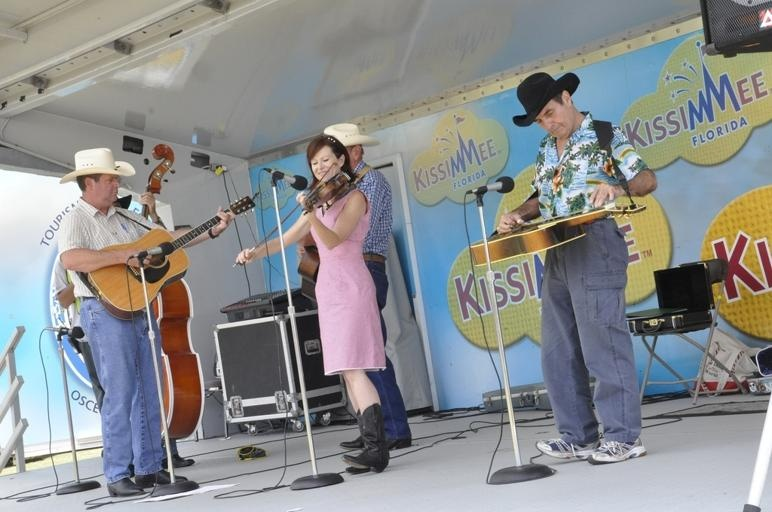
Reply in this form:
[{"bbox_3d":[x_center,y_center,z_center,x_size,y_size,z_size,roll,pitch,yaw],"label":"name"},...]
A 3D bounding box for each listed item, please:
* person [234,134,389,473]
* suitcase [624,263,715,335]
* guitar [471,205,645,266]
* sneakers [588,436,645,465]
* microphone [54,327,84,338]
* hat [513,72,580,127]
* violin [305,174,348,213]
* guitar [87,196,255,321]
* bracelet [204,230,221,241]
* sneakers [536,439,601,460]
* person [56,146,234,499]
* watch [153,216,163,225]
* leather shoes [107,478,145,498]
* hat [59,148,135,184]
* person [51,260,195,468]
[{"bbox_3d":[-0.366,0.342,4.906,0.699,2.404,0.685,-5,-8,-10],"label":"person"},{"bbox_3d":[2.420,0.415,6.372,0.700,0.756,0.725,-2,-3,-26],"label":"suitcase"},{"bbox_3d":[1.042,-0.141,4.362,0.876,0.160,0.462,-13,3,28],"label":"guitar"},{"bbox_3d":[1.460,1.245,4.521,0.398,0.180,0.145,-1,-7,-14],"label":"sneakers"},{"bbox_3d":[-2.761,0.660,6.134,0.110,0.124,0.400,-15,8,-41],"label":"microphone"},{"bbox_3d":[1.060,-1.086,4.572,0.406,0.167,0.317,-36,-7,-37],"label":"hat"},{"bbox_3d":[-0.389,-0.443,4.790,0.333,0.107,0.181,-27,-14,-23],"label":"violin"},{"bbox_3d":[-1.672,-0.109,5.708,1.592,0.672,0.226,-38,0,-29],"label":"guitar"},{"bbox_3d":[-1.405,-0.189,5.792,0.101,0.035,0.098,9,-27,-39],"label":"bracelet"},{"bbox_3d":[1.229,1.255,4.717,0.388,0.172,0.157,6,-6,1],"label":"sneakers"},{"bbox_3d":[-2.027,0.426,5.545,0.939,2.814,0.596,-2,-8,-26],"label":"person"},{"bbox_3d":[-2.078,-0.328,6.483,0.064,0.027,0.109,-5,17,-2],"label":"watch"},{"bbox_3d":[-1.958,1.752,5.329,0.345,0.133,0.119,-10,-9,24],"label":"leather shoes"},{"bbox_3d":[-2.341,-0.716,5.650,0.458,0.206,0.422,-8,2,4],"label":"hat"},{"bbox_3d":[-2.482,0.762,6.584,0.332,2.461,0.947,-11,-2,-37],"label":"person"}]
